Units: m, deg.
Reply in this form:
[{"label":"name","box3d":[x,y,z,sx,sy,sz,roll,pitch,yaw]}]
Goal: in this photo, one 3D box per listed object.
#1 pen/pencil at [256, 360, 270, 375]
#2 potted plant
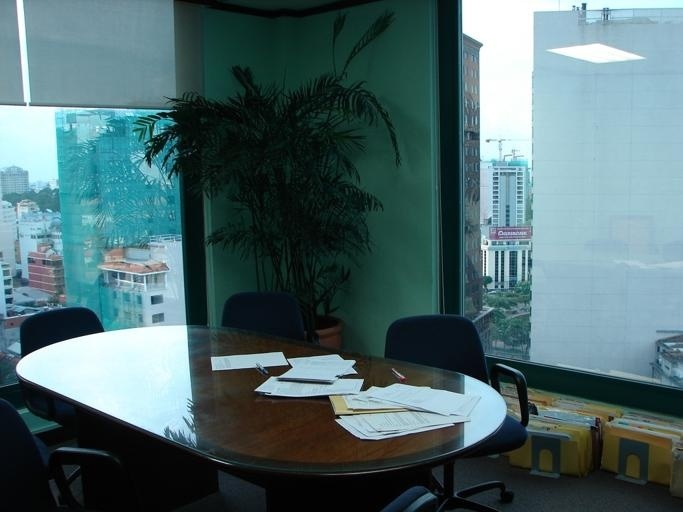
[{"label":"pen/pencil","box3d":[-0.395,0.559,2.755,0.028,0.021,0.120,-15,16,-20]},{"label":"potted plant","box3d":[-0.458,-0.561,4.494,2.287,2.590,1.568,-5,10,17]}]
